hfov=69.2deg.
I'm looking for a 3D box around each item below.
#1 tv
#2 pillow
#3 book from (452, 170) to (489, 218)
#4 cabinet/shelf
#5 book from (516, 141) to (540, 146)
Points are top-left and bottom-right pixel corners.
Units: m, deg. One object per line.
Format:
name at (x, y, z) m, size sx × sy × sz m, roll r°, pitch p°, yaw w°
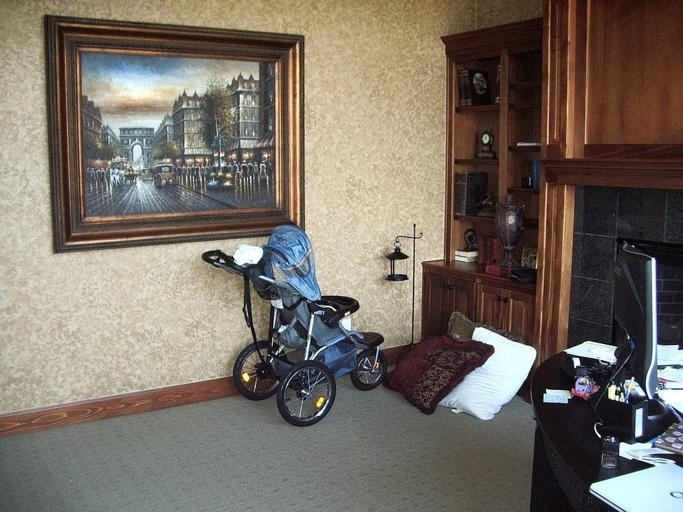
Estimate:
tv at (1.506, 0.406, 2.545) m, size 0.315 × 0.856 × 0.699 m, roll -3°, pitch 9°, yaw 9°
pillow at (1.039, 1.010, 4.391) m, size 0.836 × 0.265 × 0.888 m, roll 16°, pitch 59°, yaw 49°
book at (1.432, -0.696, 5.390) m, size 0.433 × 0.444 × 0.241 m, roll -16°, pitch 20°, yaw -42°
cabinet/shelf at (1.480, -0.636, 5.038) m, size 1.187 × 3.165 × 0.949 m, roll 8°, pitch 14°, yaw 36°
book at (1.775, -1.057, 4.703) m, size 0.185 × 0.044 × 0.401 m, roll 4°, pitch 13°, yaw 17°
